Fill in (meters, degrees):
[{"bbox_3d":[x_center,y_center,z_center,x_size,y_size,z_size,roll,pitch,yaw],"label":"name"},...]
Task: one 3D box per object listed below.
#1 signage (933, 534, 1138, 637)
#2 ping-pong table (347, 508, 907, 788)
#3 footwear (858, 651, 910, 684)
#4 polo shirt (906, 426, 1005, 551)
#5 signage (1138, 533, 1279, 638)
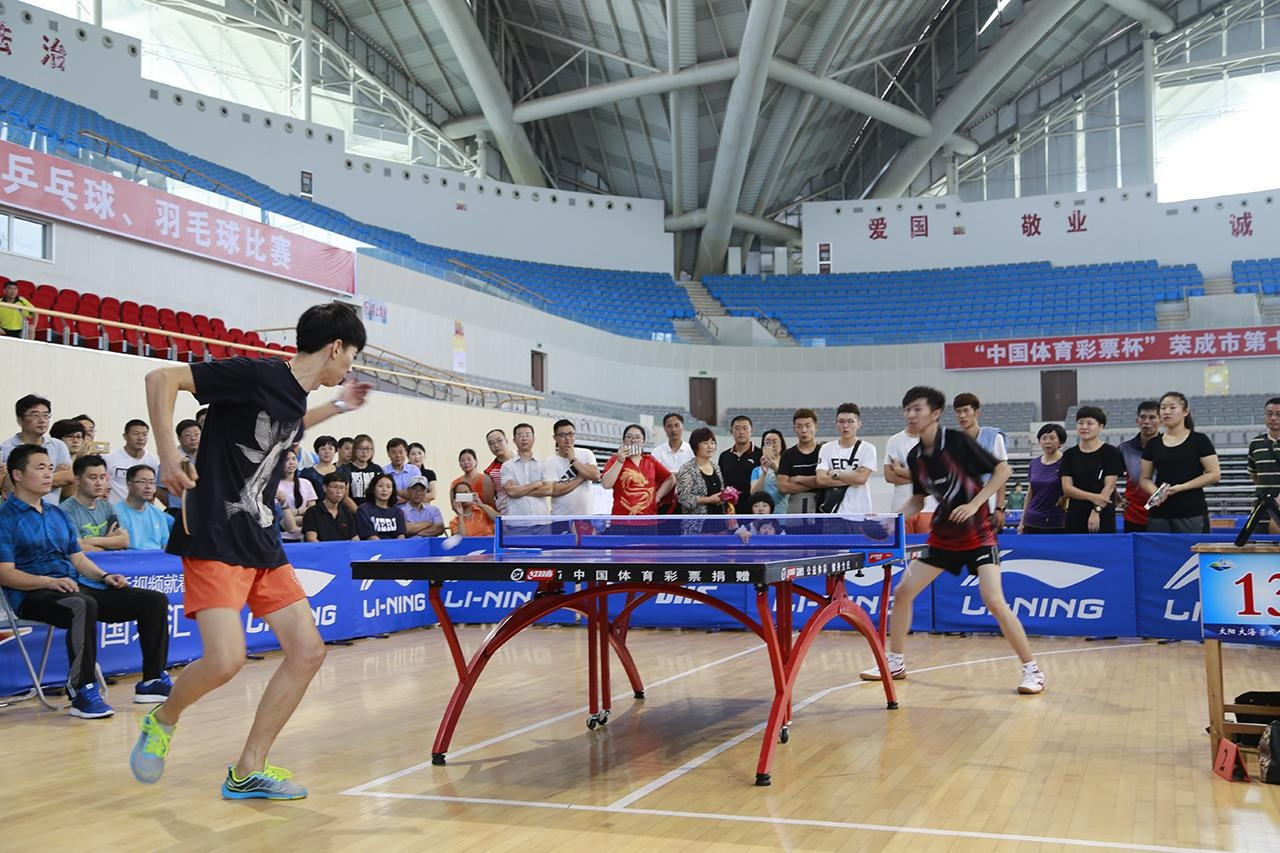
[{"bbox_3d":[4.563,1.759,12.232,1.413,0.864,0.060,0,3,18],"label":"signage"},{"bbox_3d":[0.305,1.724,9.460,3.858,1.911,2.440,1,6,11],"label":"ping-pong table"},{"bbox_3d":[2.419,2.373,10.733,0.547,0.326,0.224,-2,-8,5],"label":"footwear"},{"bbox_3d":[2.961,0.573,10.290,0.998,1.190,0.569,-16,-13,30],"label":"polo shirt"},{"bbox_3d":[5.222,1.451,10.046,1.449,1.074,0.055,-2,-2,24],"label":"signage"}]
